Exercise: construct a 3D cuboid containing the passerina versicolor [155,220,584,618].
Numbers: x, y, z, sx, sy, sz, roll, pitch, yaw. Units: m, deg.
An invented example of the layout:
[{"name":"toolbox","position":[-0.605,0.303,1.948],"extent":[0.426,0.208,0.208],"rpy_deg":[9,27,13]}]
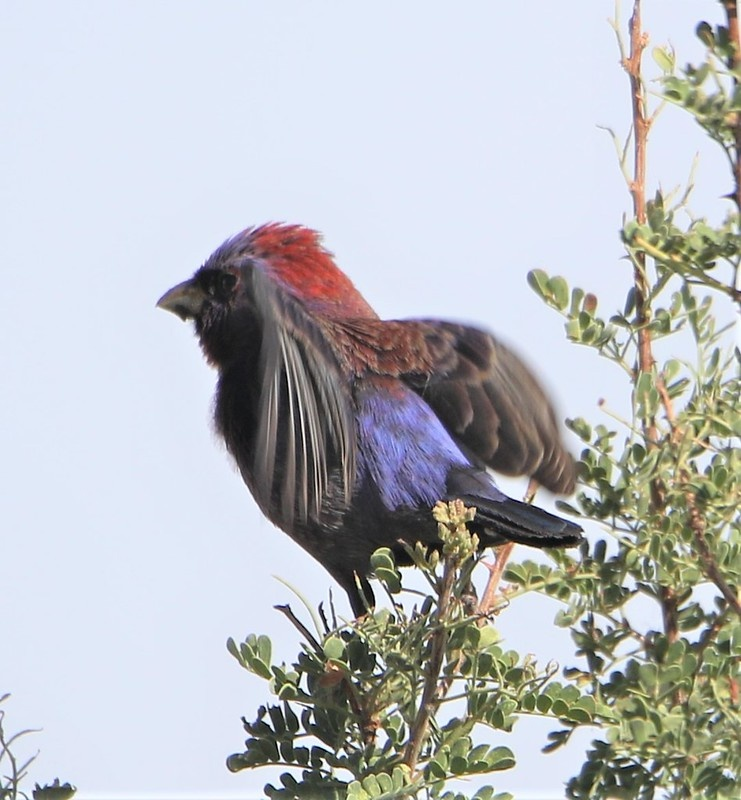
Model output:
[{"name":"passerina versicolor","position":[0.023,-0.033,3.530],"extent":[0.775,0.698,0.576],"rpy_deg":[-15,-69,-54]}]
